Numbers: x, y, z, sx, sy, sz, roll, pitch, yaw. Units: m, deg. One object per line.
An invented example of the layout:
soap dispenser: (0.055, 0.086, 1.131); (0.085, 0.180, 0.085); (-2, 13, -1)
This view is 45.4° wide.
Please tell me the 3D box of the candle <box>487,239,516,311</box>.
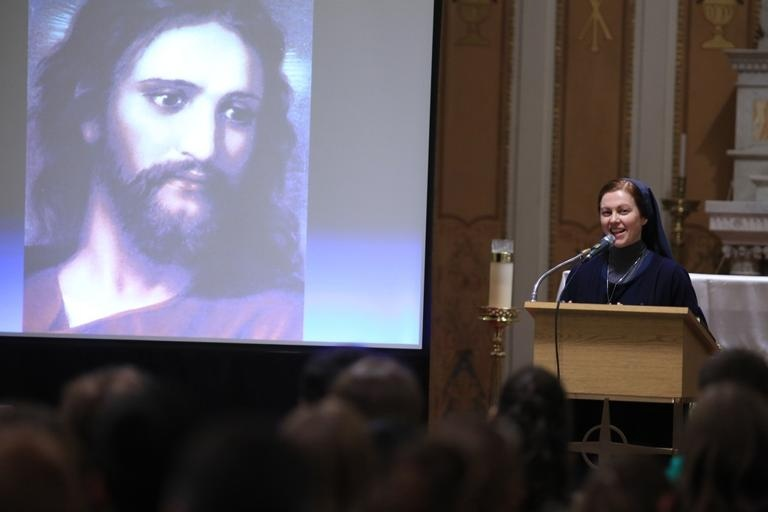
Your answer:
candle: (0.654, 0.107, 5.150); (0.122, 0.381, 0.230); (1, 0, 6)

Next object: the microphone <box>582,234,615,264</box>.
microphone: (1.260, -0.034, 5.387); (0.286, 0.065, 0.061); (-31, -22, -37)
